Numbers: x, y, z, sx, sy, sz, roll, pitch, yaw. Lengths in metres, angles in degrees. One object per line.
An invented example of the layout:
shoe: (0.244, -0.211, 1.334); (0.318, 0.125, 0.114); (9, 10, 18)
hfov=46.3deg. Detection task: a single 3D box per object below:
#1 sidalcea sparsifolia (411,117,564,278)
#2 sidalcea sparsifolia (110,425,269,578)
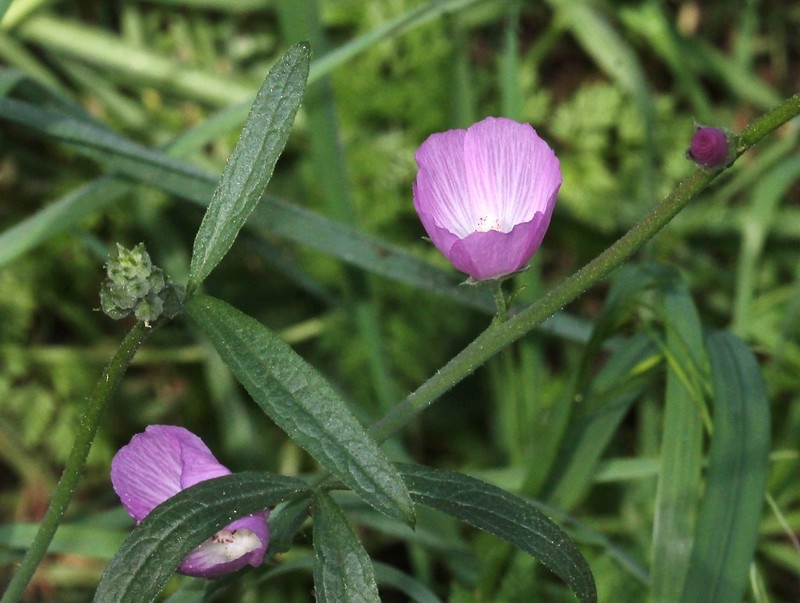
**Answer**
sidalcea sparsifolia: (0.103, -0.129, 1.072); (0.151, 0.158, 0.168); (-8, 7, 42)
sidalcea sparsifolia: (-0.231, 0.222, 1.032); (0.168, 0.150, 0.121); (3, -33, -22)
